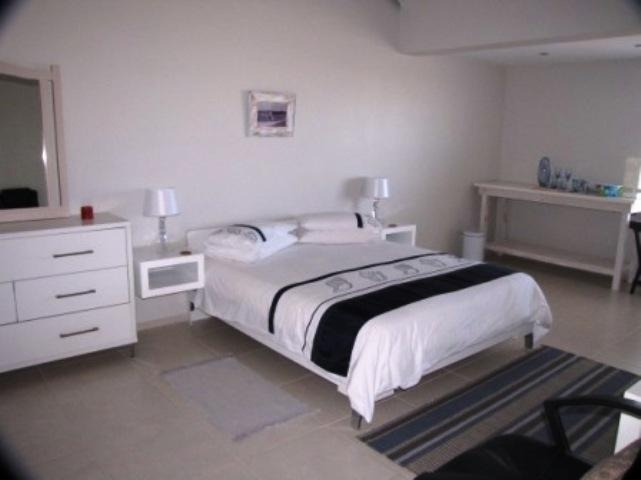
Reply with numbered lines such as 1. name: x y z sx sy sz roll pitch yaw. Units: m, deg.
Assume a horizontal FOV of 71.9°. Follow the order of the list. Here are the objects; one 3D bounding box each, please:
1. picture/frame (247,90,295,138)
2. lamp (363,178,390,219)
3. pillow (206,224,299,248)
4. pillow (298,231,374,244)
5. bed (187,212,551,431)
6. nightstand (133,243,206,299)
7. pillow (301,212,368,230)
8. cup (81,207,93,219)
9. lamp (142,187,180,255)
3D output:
1. picture/frame: -0.507 -1.288 4.597 0.454 0.399 0.155 -2 8 -18
2. lamp: 0.673 -0.485 5.266 0.347 0.545 0.353 -4 10 -22
3. pillow: -0.607 -0.058 4.133 0.351 0.109 0.393 10 14 43
4. pillow: 0.175 -0.029 4.563 0.520 0.095 0.158 1 37 -10
5. bed: 0.085 0.421 3.532 1.806 0.727 1.893 -13 20 -39
6. nightstand: -1.435 0.255 3.978 0.679 0.323 0.683 10 15 33
7. pillow: 0.118 -0.192 4.671 0.394 0.100 0.252 -3 14 -11
8. cup: -1.854 -0.217 3.538 0.096 0.108 0.099 1 2 0
9. lamp: -1.426 -0.187 3.964 0.285 0.554 0.363 -4 13 -19
